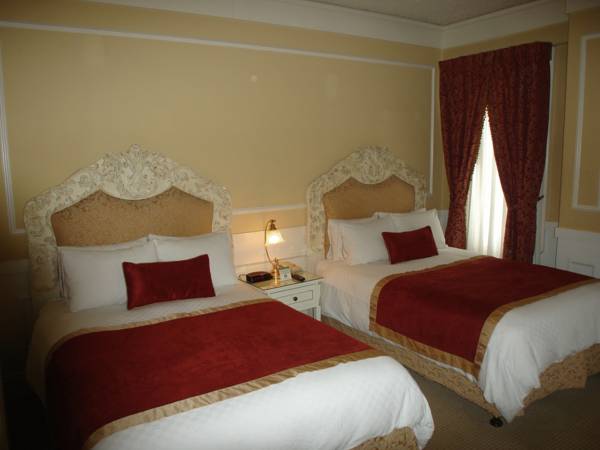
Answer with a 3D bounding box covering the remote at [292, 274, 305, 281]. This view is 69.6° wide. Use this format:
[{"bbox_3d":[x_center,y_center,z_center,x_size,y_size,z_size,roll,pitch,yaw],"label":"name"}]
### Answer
[{"bbox_3d":[-0.009,0.629,5.117,0.055,0.058,0.239,20,-6,-18],"label":"remote"}]
